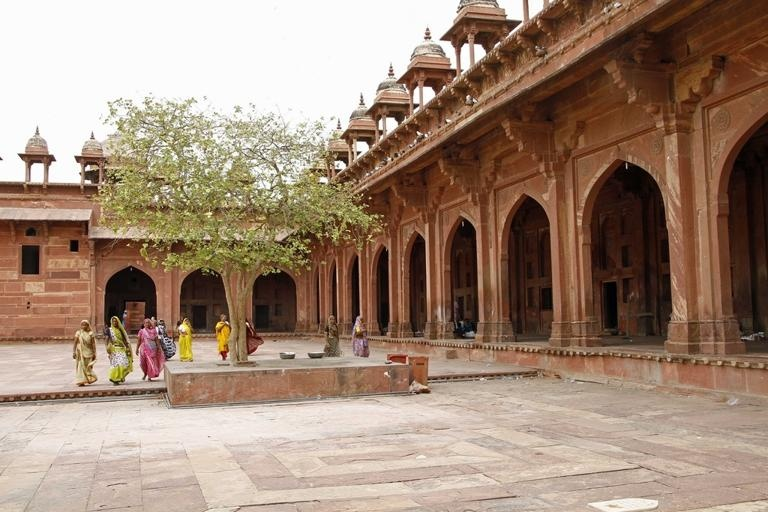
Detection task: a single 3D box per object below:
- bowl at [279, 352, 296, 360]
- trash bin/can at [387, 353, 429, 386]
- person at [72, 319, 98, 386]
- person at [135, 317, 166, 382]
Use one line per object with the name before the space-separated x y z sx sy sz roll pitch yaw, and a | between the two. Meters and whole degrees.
bowl | -2.337 2.465 15.518 0.302 0.173 0.487 -1 -1 -13
trash bin/can | 0.583 2.592 14.320 0.718 0.561 1.475 -1 -1 -16
person | -6.796 2.211 14.506 0.441 1.487 0.934 -1 -1 -26
person | -5.669 2.296 15.555 0.569 1.553 0.873 -1 -1 -19
